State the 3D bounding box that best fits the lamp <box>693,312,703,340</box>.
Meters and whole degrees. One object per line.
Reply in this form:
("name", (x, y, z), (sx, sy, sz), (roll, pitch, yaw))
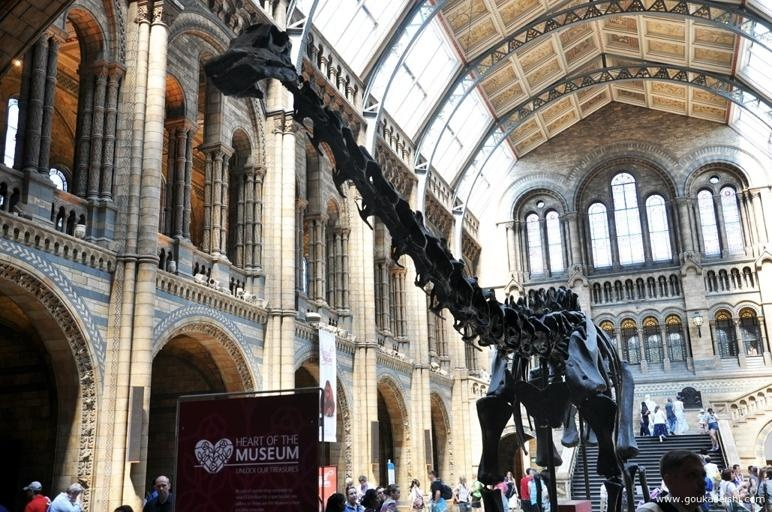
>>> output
("lamp", (13.988, 3.123, 39.491), (0.414, 1.124, 0.381), (-16, -23, 33))
